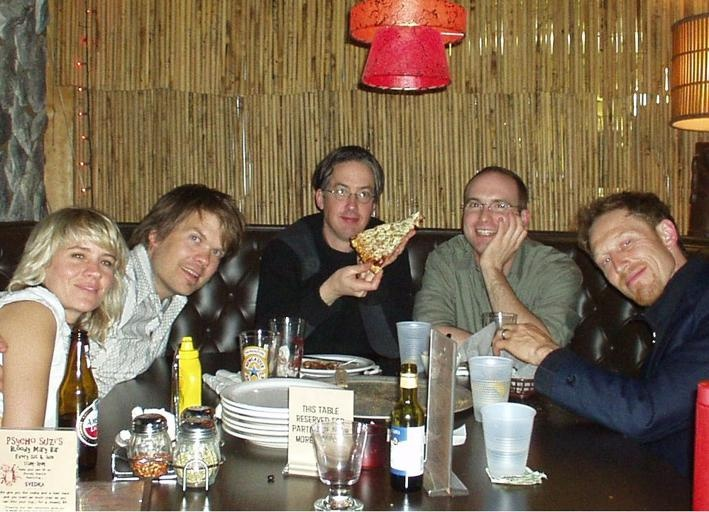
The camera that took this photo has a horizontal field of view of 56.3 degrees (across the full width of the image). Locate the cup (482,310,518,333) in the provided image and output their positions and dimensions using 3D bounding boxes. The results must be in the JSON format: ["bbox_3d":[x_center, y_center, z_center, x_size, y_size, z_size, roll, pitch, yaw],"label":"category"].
[{"bbox_3d":[0.523,0.239,2.442,0.089,0.068,0.073,-1,-2,35],"label":"cup"}]

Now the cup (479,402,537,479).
[{"bbox_3d":[0.403,0.480,1.763,0.175,0.186,0.173,1,-7,0],"label":"cup"}]

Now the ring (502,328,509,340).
[{"bbox_3d":[0.516,0.264,2.265,0.021,0.033,0.032,0,7,7],"label":"ring"}]

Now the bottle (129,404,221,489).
[{"bbox_3d":[-0.439,0.493,1.728,0.244,0.176,0.148,1,3,5],"label":"bottle"}]

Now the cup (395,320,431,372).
[{"bbox_3d":[0.224,0.324,2.408,0.168,0.187,0.171,1,-2,0],"label":"cup"}]

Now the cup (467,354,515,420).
[{"bbox_3d":[0.410,0.407,2.064,0.182,0.220,0.182,1,-10,0],"label":"cup"}]

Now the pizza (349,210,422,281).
[{"bbox_3d":[0.141,-0.059,3.228,0.348,0.279,0.103,-31,-17,-18],"label":"pizza"}]

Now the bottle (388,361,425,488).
[{"bbox_3d":[0.136,0.441,1.714,0.089,0.322,0.163,0,-8,5],"label":"bottle"}]
